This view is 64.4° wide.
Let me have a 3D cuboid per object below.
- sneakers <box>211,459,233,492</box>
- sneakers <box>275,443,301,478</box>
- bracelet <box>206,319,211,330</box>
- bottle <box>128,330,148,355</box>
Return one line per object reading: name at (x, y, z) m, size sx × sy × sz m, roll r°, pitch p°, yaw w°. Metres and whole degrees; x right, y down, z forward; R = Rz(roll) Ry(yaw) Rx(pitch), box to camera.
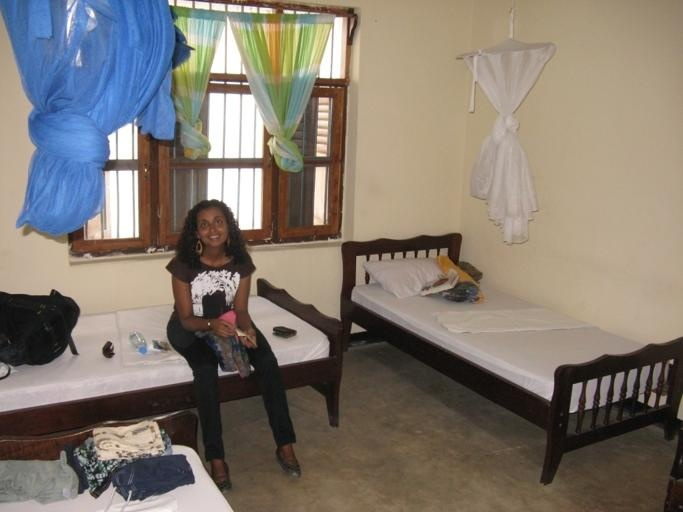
sneakers at (-0.753, 1.368, 3.393) m, size 0.080 × 0.100 × 0.246 m, roll -4°, pitch 11°, yaw -20°
sneakers at (-0.354, 1.347, 3.595) m, size 0.089 × 0.127 × 0.287 m, roll -2°, pitch 4°, yaw -20°
bracelet at (-0.909, 0.463, 3.695) m, size 0.044 × 0.044 × 0.011 m, roll 1°, pitch 0°, yaw 23°
bottle at (-1.409, 0.601, 3.759) m, size 0.099 × 0.066 × 0.165 m, roll -19°, pitch 58°, yaw -33°
